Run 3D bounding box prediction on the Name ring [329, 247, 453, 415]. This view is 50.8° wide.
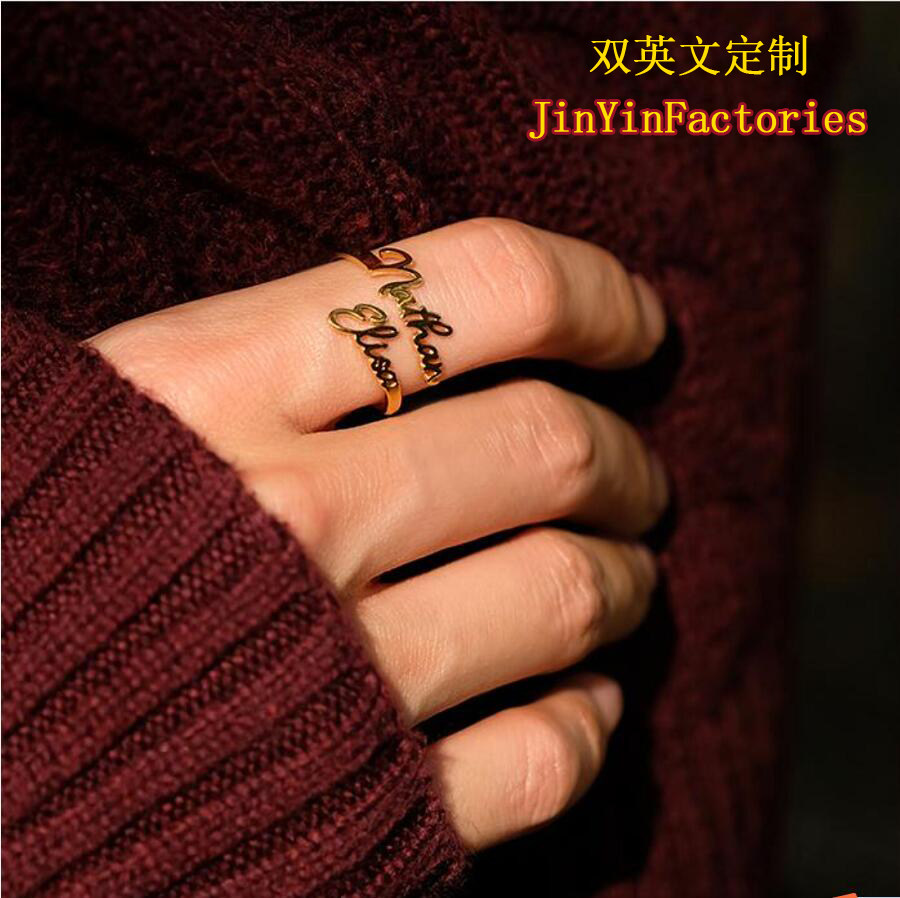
[{"bbox_3d":[-0.029,-0.066,0.485,0.064,0.022,0.082,-30,88,-27],"label":"Name ring"}]
